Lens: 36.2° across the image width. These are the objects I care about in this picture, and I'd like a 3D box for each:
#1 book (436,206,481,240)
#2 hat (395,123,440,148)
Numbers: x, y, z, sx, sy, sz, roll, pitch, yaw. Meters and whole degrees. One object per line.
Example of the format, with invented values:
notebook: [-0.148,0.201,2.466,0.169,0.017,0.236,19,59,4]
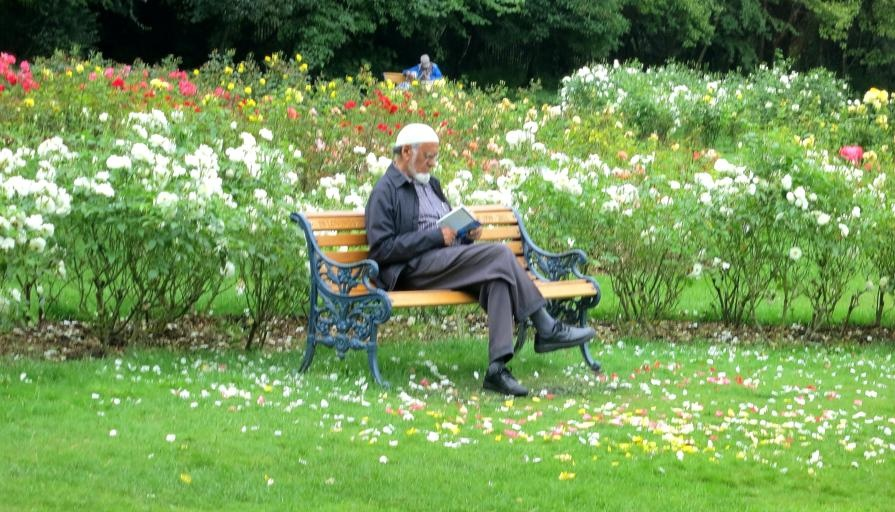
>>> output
book: [0.202,-0.501,20.785,0.494,0.132,0.520,36,-56,-19]
hat: [-0.453,-1.872,20.918,0.413,0.256,0.435,6,23,41]
